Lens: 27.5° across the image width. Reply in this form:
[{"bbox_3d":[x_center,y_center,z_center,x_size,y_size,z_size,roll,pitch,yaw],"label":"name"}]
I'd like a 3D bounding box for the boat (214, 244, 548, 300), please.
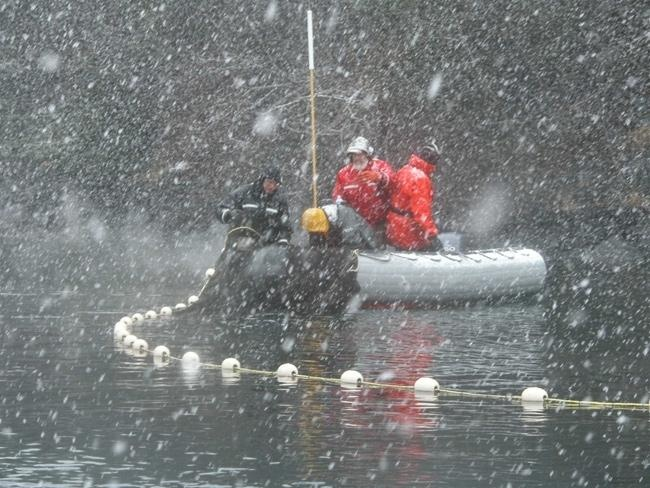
[{"bbox_3d":[1.650,0.659,27.136,6.691,1.150,1.983,0,-2,-27],"label":"boat"}]

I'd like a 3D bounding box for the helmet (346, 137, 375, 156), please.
[{"bbox_3d":[0.703,-1.977,26.580,0.365,0.333,0.514,-7,-13,30],"label":"helmet"}]

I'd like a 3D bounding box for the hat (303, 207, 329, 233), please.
[{"bbox_3d":[-0.193,-0.492,26.359,0.499,0.470,0.486,-2,4,-17],"label":"hat"}]

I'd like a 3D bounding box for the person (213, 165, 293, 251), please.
[{"bbox_3d":[-1.369,-0.741,26.866,1.360,1.370,0.791,-1,7,-2],"label":"person"}]
